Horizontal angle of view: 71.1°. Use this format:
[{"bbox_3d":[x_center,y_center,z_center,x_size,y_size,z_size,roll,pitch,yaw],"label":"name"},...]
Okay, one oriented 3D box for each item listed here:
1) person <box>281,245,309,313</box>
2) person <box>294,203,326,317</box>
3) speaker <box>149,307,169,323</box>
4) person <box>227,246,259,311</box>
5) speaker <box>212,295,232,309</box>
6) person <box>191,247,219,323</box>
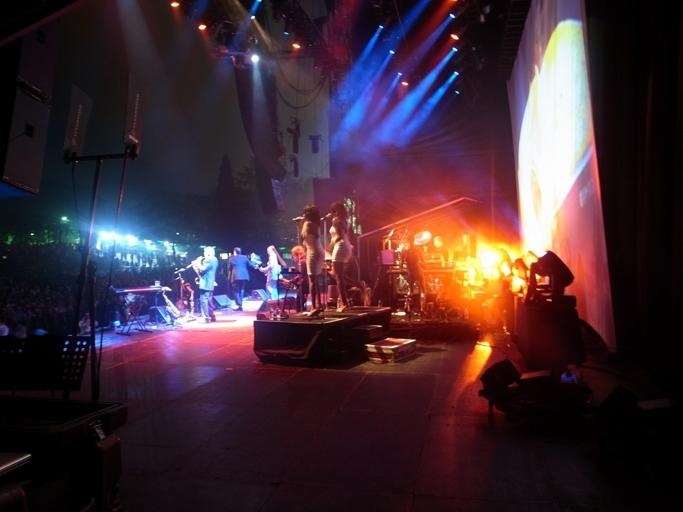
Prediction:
[{"bbox_3d":[-1.011,0.559,10.243,0.561,1.808,0.496,-12,-49,8],"label":"person"},{"bbox_3d":[-0.437,0.033,7.101,0.345,1.538,0.713,-2,8,-5],"label":"person"},{"bbox_3d":[-4.106,1.310,10.779,0.373,0.298,0.413,-1,-1,2],"label":"speaker"},{"bbox_3d":[-2.725,0.653,12.970,0.577,1.859,1.145,-3,8,-11],"label":"person"},{"bbox_3d":[-3.483,1.314,13.940,0.315,0.369,0.488,-6,-2,14],"label":"speaker"},{"bbox_3d":[-3.157,0.638,11.047,0.527,1.729,0.785,-4,8,-18],"label":"person"}]
